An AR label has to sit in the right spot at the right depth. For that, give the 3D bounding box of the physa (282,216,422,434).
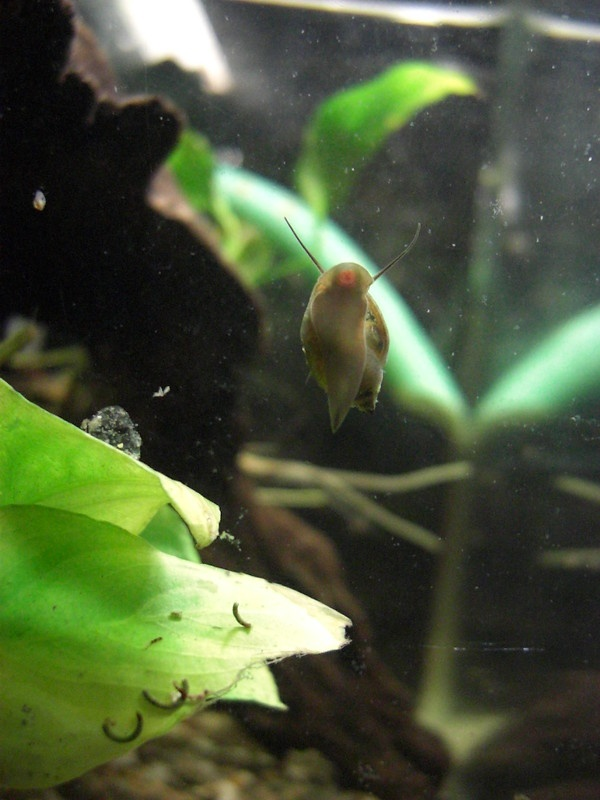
[{"bbox_3d":[0.047,-0.076,0.995,0.137,0.190,0.075,5,41,12],"label":"physa"}]
